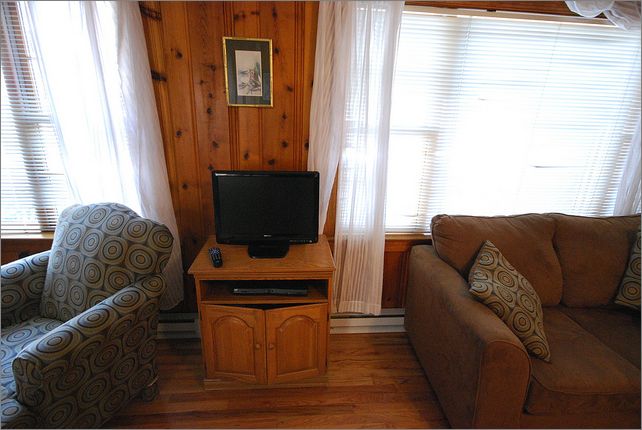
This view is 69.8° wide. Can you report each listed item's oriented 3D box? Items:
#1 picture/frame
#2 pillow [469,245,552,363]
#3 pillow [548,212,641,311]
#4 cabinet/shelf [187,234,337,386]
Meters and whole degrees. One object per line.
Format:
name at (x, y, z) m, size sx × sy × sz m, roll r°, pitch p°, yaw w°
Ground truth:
picture/frame at (-0.578, -1.136, 3.554) m, size 0.540 × 0.598 × 0.042 m, roll -2°, pitch 16°, yaw -8°
pillow at (1.254, 0.641, 3.353) m, size 0.210 × 0.686 × 0.666 m, roll -38°, pitch 7°, yaw 30°
pillow at (2.156, 0.400, 3.641) m, size 0.704 × 0.527 × 0.292 m, roll -2°, pitch 20°, yaw -5°
cabinet/shelf at (-0.446, 0.852, 3.700) m, size 1.056 × 0.958 × 0.745 m, roll 0°, pitch 8°, yaw -3°
